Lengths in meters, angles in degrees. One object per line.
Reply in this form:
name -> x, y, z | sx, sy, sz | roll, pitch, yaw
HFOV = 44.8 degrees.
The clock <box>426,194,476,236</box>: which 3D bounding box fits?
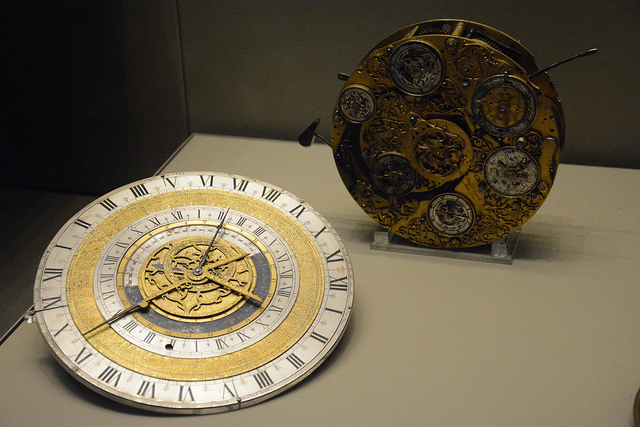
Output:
clock -> 0.848, 0.003, 5.060 | 0.253, 0.271, 0.286 | 10, -60, 13
